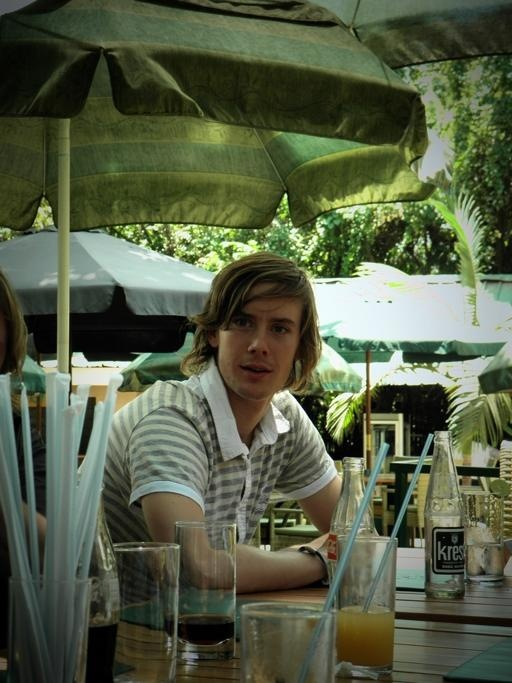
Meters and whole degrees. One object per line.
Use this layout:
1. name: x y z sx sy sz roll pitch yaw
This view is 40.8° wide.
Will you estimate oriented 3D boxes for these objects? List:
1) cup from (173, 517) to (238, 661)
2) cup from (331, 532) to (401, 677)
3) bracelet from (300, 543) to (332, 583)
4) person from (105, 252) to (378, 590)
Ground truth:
1. cup: -0.060 0.297 0.814 0.069 0.163 0.064 0 -7 0
2. cup: 0.117 0.286 0.739 0.064 0.151 0.051 -1 -7 4
3. bracelet: 0.123 0.469 1.459 0.067 0.024 0.069 7 4 42
4. person: -0.067 0.214 1.747 0.685 0.774 0.682 4 -8 19
